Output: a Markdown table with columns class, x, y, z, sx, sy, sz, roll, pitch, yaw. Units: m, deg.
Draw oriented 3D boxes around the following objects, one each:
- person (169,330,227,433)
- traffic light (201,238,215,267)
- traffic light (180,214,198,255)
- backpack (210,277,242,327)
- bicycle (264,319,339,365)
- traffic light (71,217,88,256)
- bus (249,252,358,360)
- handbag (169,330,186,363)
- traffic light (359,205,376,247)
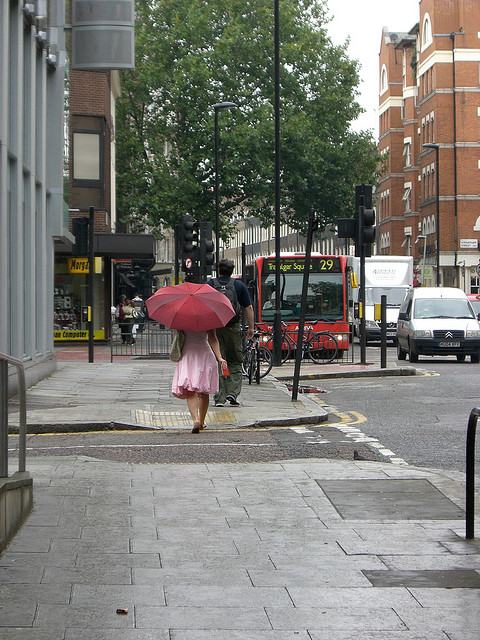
| class | x | y | z | sx | sy | sz | roll | pitch | yaw |
| --- | --- | --- | --- | --- | --- | --- | --- | --- | --- |
| person | -0.493 | 0.690 | 10.398 | 0.532 | 1.203 | 0.631 | 0 | 4 | -14 |
| traffic light | -0.859 | -1.786 | 24.095 | 0.251 | 0.753 | 0.671 | 1 | 4 | 7 |
| traffic light | -1.296 | -2.209 | 23.486 | 0.405 | 1.027 | 1.144 | 1 | 4 | -4 |
| backpack | -0.194 | -0.278 | 12.832 | 0.440 | 0.677 | 0.373 | -6 | -3 | -15 |
| bicycle | 1.640 | 0.626 | 25.001 | 1.827 | 1.192 | 0.946 | -1 | 2 | -8 |
| traffic light | -4.036 | -2.161 | 23.296 | 0.377 | 0.951 | 0.947 | 0 | 4 | -9 |
| bus | 1.845 | -0.722 | 25.893 | 2.299 | 3.359 | 3.405 | -1 | 3 | 1 |
| handbag | -0.693 | 0.284 | 10.249 | 0.143 | 0.373 | 0.425 | 1 | 4 | -4 |
| traffic light | 2.841 | -2.128 | 20.780 | 0.347 | 0.914 | 0.786 | 1 | 4 | 7 |
